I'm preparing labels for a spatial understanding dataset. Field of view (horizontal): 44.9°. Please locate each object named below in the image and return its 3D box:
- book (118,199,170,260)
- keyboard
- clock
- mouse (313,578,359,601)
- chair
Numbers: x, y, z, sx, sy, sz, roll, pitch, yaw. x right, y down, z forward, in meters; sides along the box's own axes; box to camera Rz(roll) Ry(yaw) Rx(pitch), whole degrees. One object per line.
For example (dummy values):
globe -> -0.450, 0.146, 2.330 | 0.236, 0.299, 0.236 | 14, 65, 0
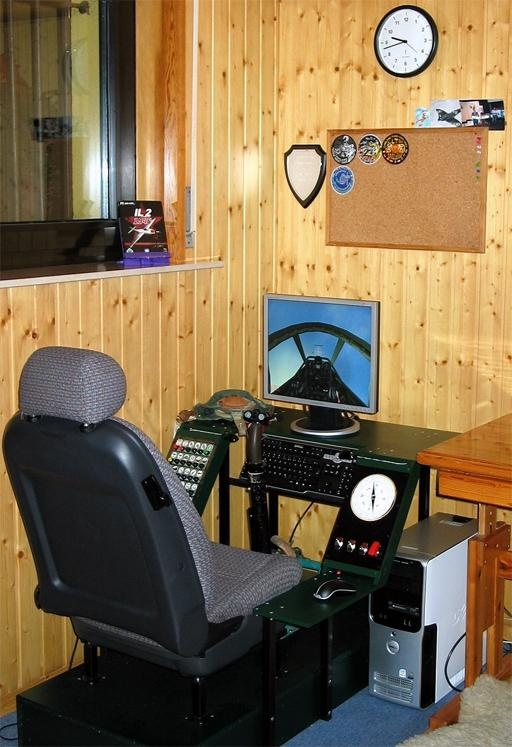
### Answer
book -> -0.440, -0.567, 2.445 | 0.233, 0.268, 0.041 | -10, -1, -31
keyboard -> 0.178, 0.337, 2.210 | 0.411, 0.222, 0.086 | 9, -15, 34
clock -> 0.621, -1.382, 2.586 | 0.277, 0.274, 0.048 | 6, 9, 38
mouse -> 0.212, 0.579, 1.700 | 0.091, 0.035, 0.054 | -8, 9, -36
chair -> -0.271, 0.389, 1.411 | 0.448, 0.934, 0.637 | 3, 8, 21
